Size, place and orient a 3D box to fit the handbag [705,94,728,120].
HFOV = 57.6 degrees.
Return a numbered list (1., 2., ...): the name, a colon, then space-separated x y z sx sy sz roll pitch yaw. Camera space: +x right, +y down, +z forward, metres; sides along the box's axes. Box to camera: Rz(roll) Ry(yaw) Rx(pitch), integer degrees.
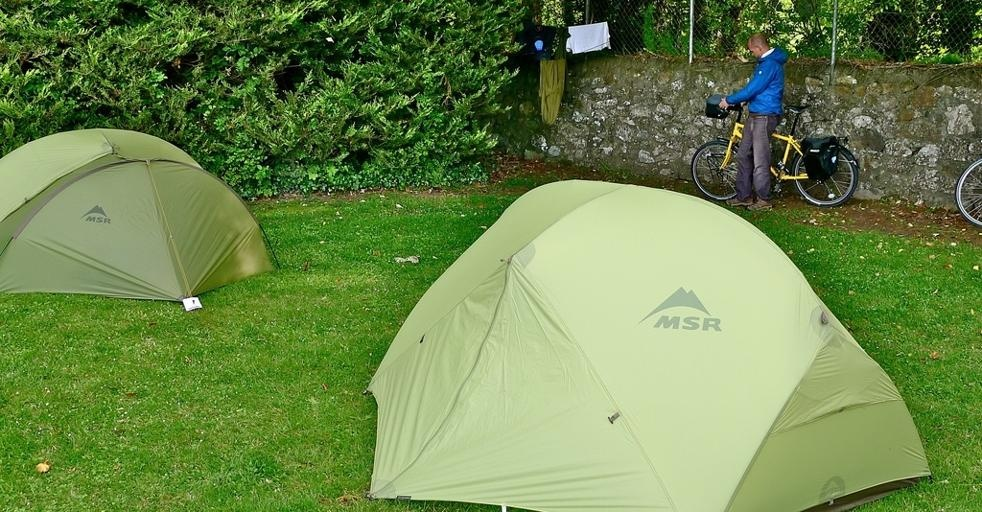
1. handbag: 4.758 -3.162 18.924 0.525 0.340 0.503 1 24 -1
